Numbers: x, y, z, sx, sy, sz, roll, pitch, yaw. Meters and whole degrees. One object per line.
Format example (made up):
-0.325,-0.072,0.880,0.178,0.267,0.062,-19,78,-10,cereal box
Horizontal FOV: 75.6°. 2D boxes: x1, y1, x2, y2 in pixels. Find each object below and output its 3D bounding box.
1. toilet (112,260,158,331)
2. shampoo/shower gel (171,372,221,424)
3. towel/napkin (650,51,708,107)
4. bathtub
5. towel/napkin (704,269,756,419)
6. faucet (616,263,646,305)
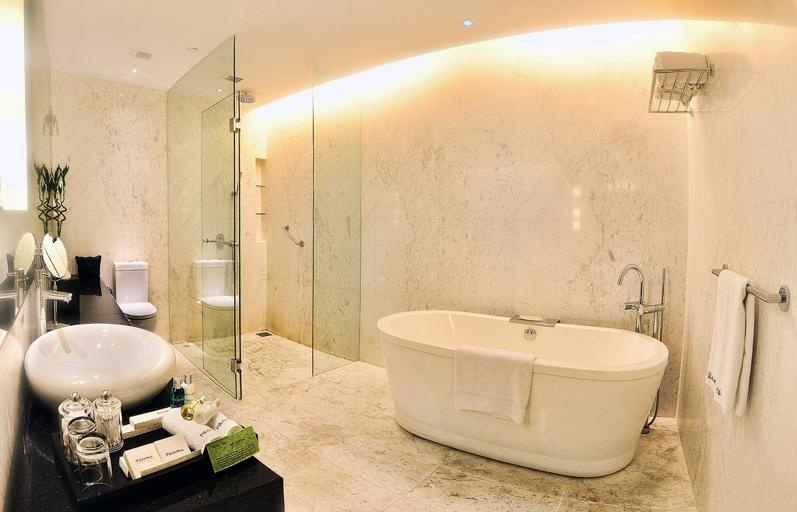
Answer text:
-2.612,0.355,5.091,0.368,0.803,0.696,-2,4,-35,toilet
-1.020,0.703,2.564,0.184,0.176,0.312,-2,7,-27,shampoo/shower gel
1.995,-1.235,3.657,0.324,0.359,0.508,5,8,11,towel/napkin
0.876,0.999,3.968,2.064,0.901,0.896,4,7,26,bathtub
1.873,0.499,2.904,0.165,0.817,0.391,4,7,22,towel/napkin
1.829,0.219,4.028,0.219,0.310,0.248,4,7,24,faucet
